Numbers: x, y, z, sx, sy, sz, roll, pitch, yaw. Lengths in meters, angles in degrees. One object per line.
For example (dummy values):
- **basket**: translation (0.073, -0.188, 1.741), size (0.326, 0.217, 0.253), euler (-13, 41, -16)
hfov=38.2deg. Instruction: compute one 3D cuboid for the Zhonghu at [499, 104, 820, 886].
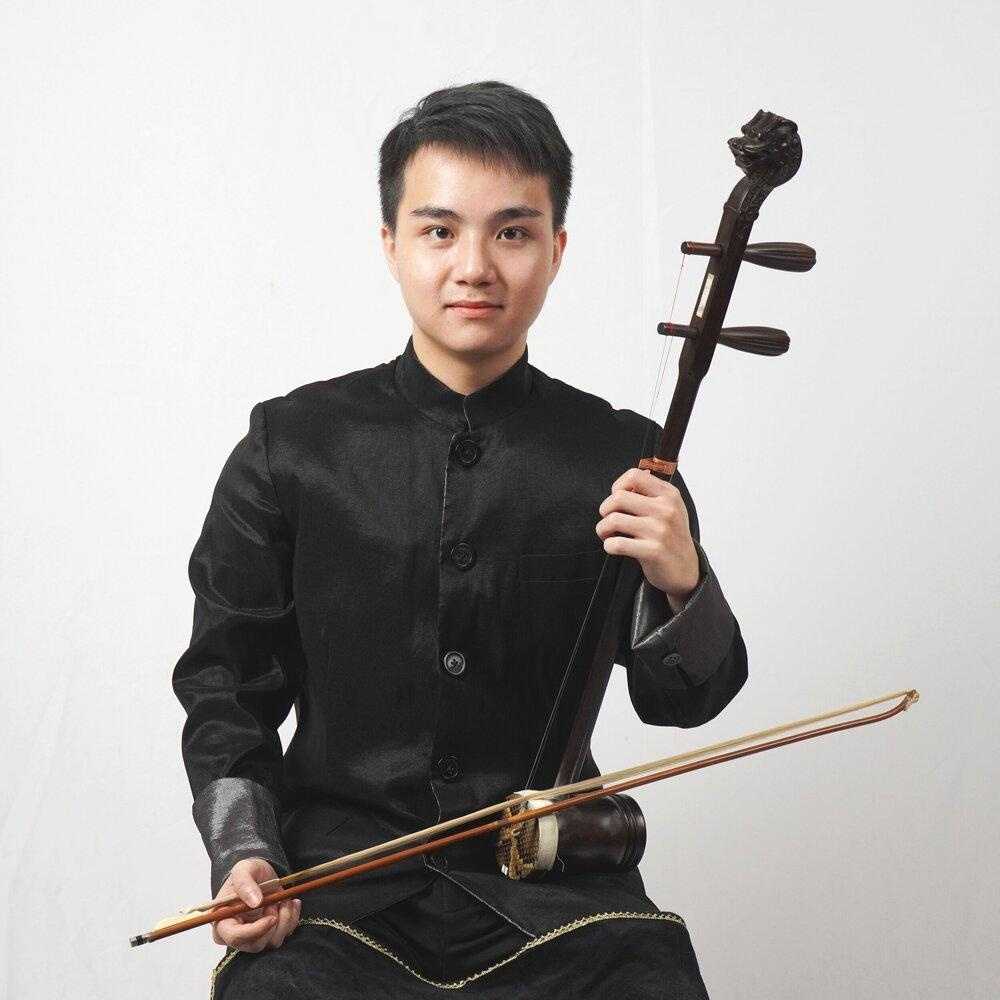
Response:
- **Zhonghu**: translation (0.185, 0.002, 1.745), size (0.312, 0.891, 0.395), euler (2, -10, -27)
